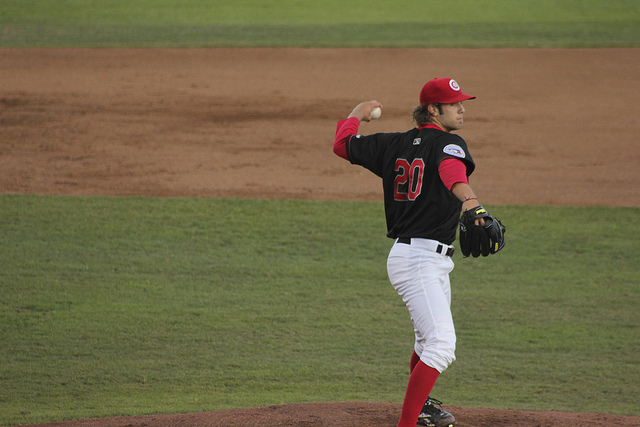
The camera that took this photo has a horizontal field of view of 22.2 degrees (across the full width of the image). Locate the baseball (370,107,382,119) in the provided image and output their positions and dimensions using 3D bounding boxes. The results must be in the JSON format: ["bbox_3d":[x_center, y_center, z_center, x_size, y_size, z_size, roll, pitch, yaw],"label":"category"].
[{"bbox_3d":[0.937,-1.649,26.373,0.198,0.214,0.173,8,42,-9],"label":"baseball"}]

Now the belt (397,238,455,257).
[{"bbox_3d":[1.721,0.499,25.893,0.570,0.151,0.385,16,0,4],"label":"belt"}]
